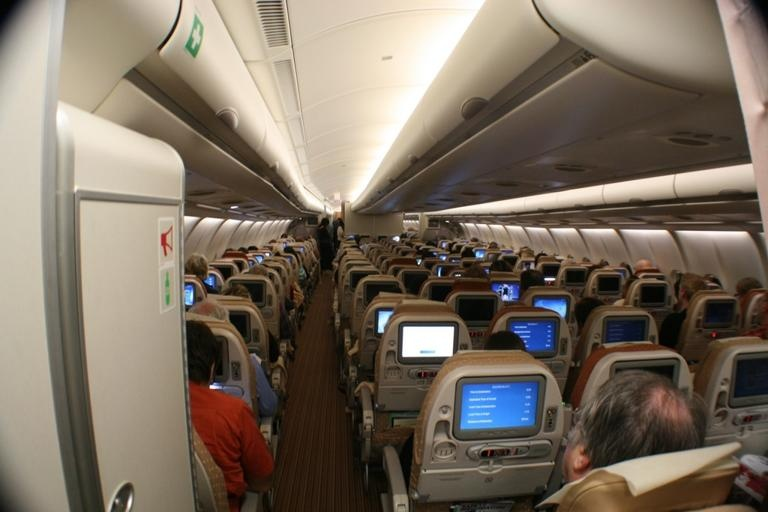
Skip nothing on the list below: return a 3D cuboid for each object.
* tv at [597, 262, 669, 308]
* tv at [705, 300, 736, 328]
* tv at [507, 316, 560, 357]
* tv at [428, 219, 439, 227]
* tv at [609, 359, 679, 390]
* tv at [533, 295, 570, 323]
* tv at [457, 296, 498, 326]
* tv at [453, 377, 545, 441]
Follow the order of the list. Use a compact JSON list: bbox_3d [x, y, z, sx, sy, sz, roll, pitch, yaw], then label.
[{"bbox_3d":[4.228,0.510,8.580,0.482,0.758,0.698,13,6,13],"label":"tv"},{"bbox_3d":[4.094,0.704,6.129,0.323,0.352,0.046,0,12,-10],"label":"tv"},{"bbox_3d":[1.427,0.762,4.851,0.370,0.351,0.210,-1,13,-3],"label":"tv"},{"bbox_3d":[4.110,-2.680,42.119,0.388,0.470,0.672,2,1,-11],"label":"tv"},{"bbox_3d":[1.842,0.803,3.531,0.561,0.172,0.123,2,-7,-16],"label":"tv"},{"bbox_3d":[1.943,0.611,5.888,0.338,0.323,0.183,2,3,-11],"label":"tv"},{"bbox_3d":[1.081,0.642,5.918,0.342,0.268,0.048,0,10,-12],"label":"tv"},{"bbox_3d":[0.672,0.910,3.033,0.403,0.312,0.056,-1,11,-10],"label":"tv"}]
